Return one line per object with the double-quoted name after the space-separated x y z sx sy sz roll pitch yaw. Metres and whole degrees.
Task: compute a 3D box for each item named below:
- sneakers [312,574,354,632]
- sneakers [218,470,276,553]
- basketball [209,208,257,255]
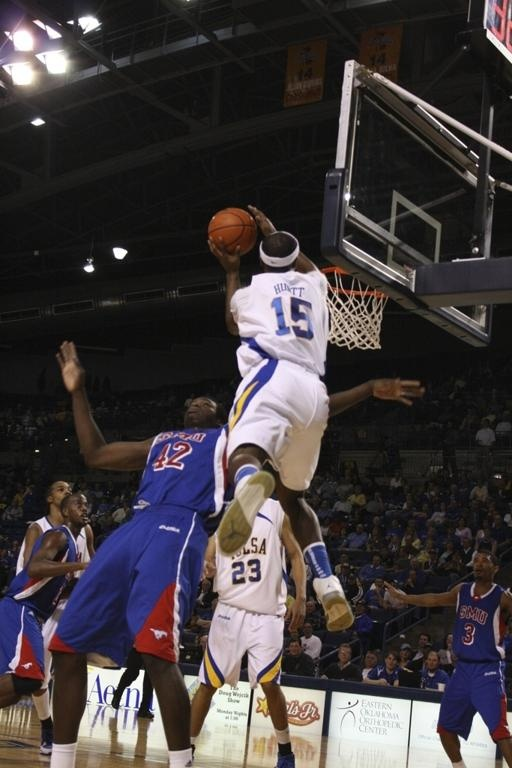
0.256 0.740 2.425 0.090 0.258 0.111 -16 -43 -7 "sneakers"
-0.033 0.355 1.829 0.147 0.236 0.167 4 -7 -24 "sneakers"
-0.116 -0.719 3.216 0.258 0.244 0.249 1 1 -6 "basketball"
